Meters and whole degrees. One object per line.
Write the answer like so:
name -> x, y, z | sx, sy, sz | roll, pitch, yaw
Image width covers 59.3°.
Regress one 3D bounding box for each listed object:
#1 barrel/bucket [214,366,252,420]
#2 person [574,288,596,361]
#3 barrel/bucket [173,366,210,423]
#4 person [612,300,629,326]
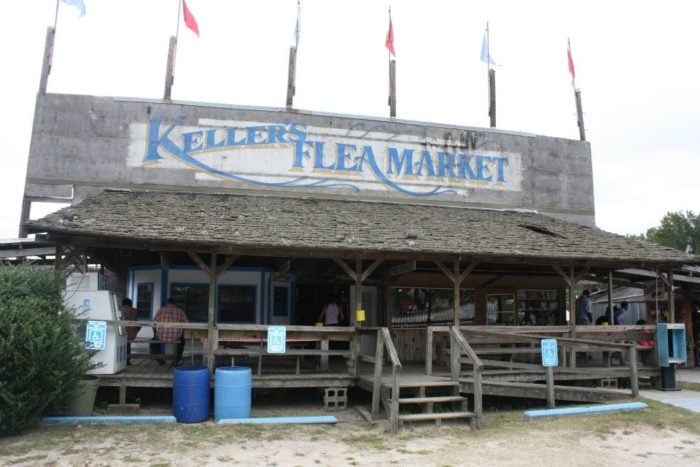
barrel/bucket -> -2.969, 4.100, 15.705 | 0.894, 1.307, 0.374 | 2, -11, -13
person -> 8.241, 2.844, 21.564 | 0.482, 1.714, 0.653 | -15, 20, -12
barrel/bucket -> -4.002, 4.094, 15.629 | 0.877, 1.386, 0.396 | 2, -11, -14
person -> 10.881, 3.205, 24.789 | 0.589, 0.706, 1.627 | -8, -16, 10
